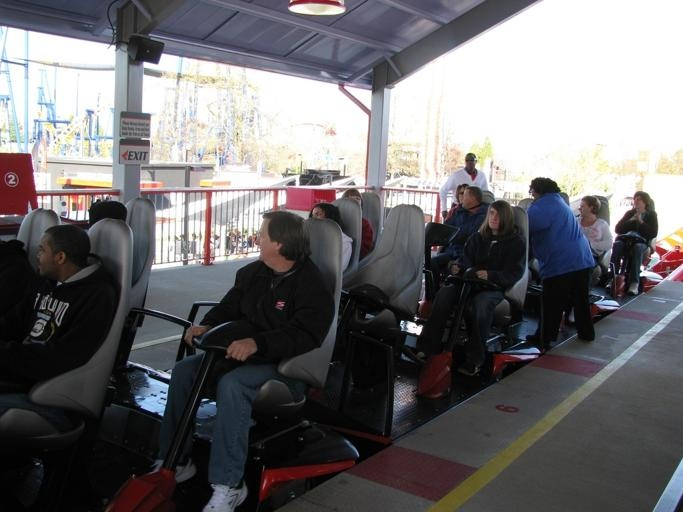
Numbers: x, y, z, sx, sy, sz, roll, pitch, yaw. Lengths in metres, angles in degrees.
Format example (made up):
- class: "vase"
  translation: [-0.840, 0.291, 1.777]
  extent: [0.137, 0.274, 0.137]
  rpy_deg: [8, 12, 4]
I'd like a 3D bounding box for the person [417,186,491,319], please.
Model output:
- class: "person"
  translation: [1.252, -0.086, 5.282]
  extent: [0.709, 1.343, 0.537]
  rpy_deg: [2, 4, -12]
